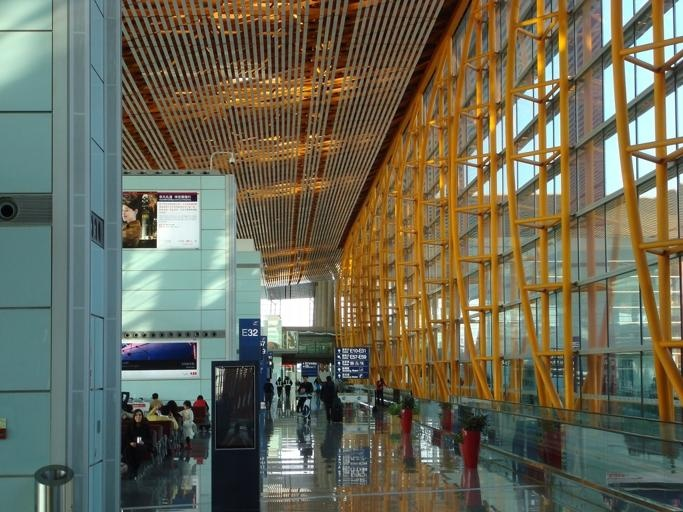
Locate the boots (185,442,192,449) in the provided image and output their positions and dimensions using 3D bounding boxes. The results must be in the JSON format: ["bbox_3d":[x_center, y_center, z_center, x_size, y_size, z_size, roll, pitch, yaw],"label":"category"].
[{"bbox_3d":[-3.956,4.904,16.915,0.136,0.176,0.148,-4,-11,21],"label":"boots"}]

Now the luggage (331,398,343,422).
[{"bbox_3d":[-0.166,5.306,22.593,0.349,0.871,0.504,0,-13,-9],"label":"luggage"}]

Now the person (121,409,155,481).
[{"bbox_3d":[-4.211,3.771,13.436,0.622,1.291,1.858,1,-15,-15],"label":"person"}]
